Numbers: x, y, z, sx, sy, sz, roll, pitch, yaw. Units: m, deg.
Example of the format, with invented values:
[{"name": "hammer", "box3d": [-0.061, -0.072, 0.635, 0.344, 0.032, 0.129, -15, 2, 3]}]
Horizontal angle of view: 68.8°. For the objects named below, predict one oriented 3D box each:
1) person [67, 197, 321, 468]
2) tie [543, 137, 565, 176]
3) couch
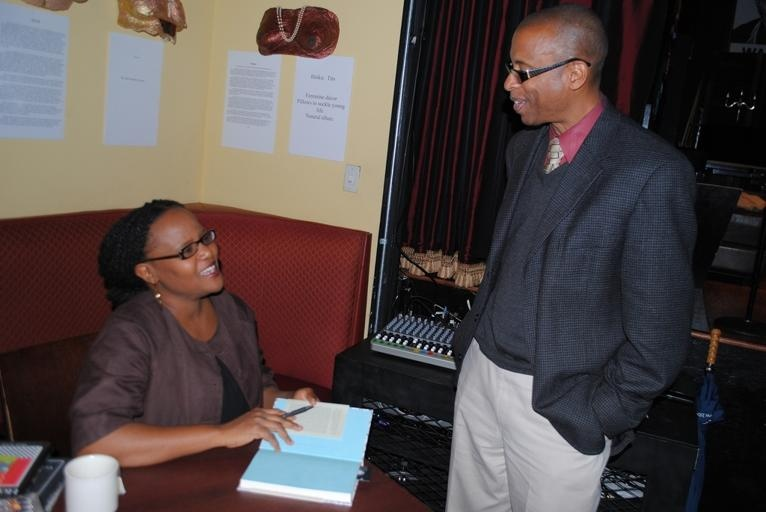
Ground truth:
[{"name": "person", "box3d": [-0.812, 0.209, 2.481, 0.892, 1.284, 1.012, 2, 12, 13]}, {"name": "tie", "box3d": [0.664, -0.387, 2.174, 0.091, 0.125, 0.030, 10, 8, 42]}, {"name": "couch", "box3d": [-1.016, 0.169, 2.880, 1.465, 1.253, 1.136, -4, 8, -32]}]
